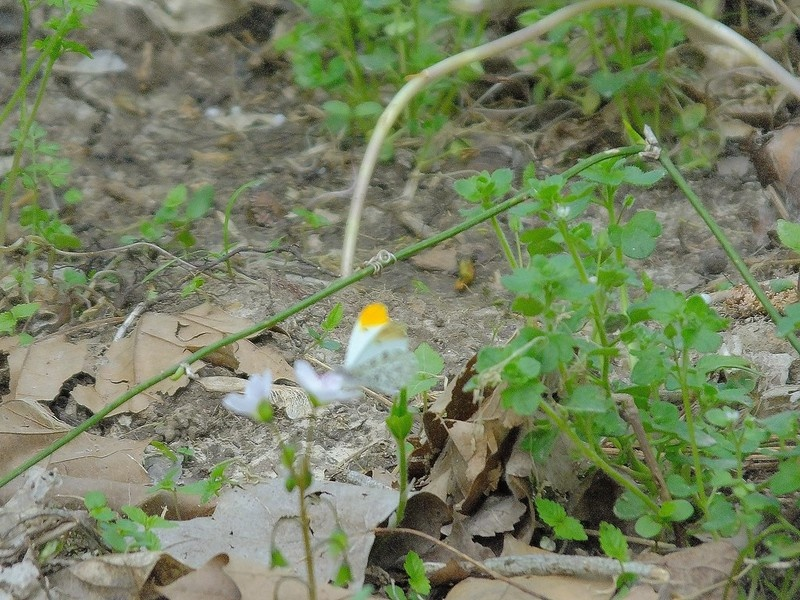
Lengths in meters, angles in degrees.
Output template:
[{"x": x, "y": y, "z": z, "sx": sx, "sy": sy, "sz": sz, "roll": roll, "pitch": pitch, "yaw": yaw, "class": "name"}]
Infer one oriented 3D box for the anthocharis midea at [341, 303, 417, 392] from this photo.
[{"x": -0.030, "y": 0.086, "z": 1.438, "sx": 0.166, "sy": 0.127, "sz": 0.275, "roll": 1, "pitch": 14, "yaw": 6, "class": "anthocharis midea"}]
